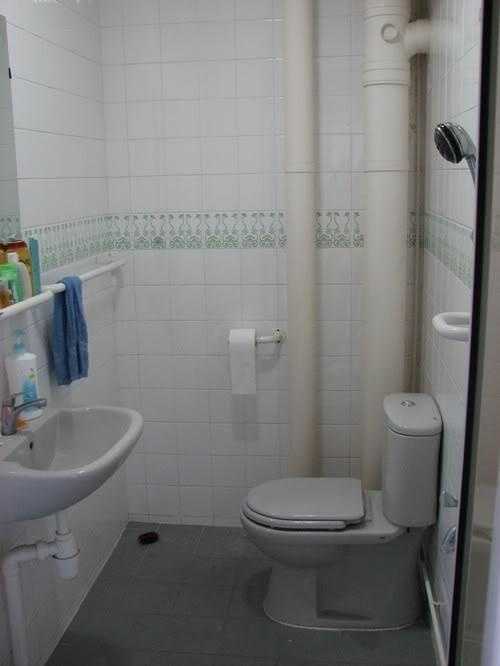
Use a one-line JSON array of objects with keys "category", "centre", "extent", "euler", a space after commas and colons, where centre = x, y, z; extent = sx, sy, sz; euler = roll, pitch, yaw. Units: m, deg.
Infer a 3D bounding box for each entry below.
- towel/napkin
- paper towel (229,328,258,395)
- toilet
[{"category": "towel/napkin", "centre": [-0.646, -0.005, 1.847], "extent": [0.119, 0.378, 0.120], "euler": [-5, 10, -24]}, {"category": "paper towel", "centre": [-0.035, 0.135, 2.423], "extent": [0.125, 0.291, 0.089], "euler": [-1, 9, -1]}, {"category": "toilet", "centre": [0.349, 0.677, 2.019], "extent": [0.706, 0.842, 0.296], "euler": [0, 9, 8]}]
